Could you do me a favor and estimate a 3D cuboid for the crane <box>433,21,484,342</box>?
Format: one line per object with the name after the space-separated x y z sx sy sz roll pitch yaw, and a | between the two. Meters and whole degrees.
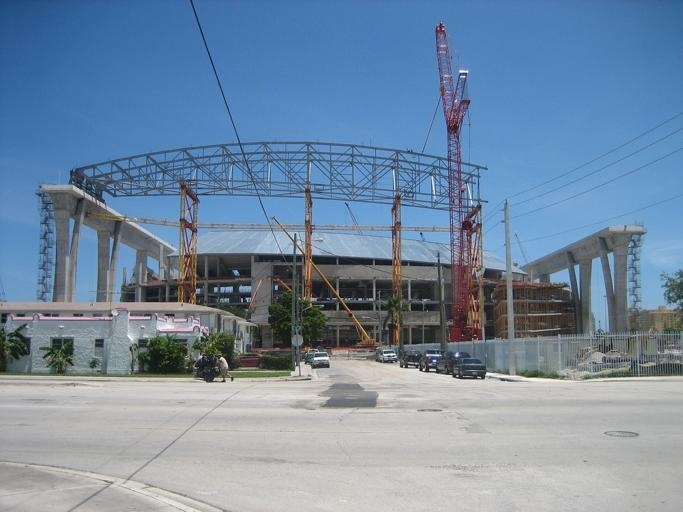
12.343 -3.250 80.414 1.724 39.810 5.713 1 -3 8 | crane
